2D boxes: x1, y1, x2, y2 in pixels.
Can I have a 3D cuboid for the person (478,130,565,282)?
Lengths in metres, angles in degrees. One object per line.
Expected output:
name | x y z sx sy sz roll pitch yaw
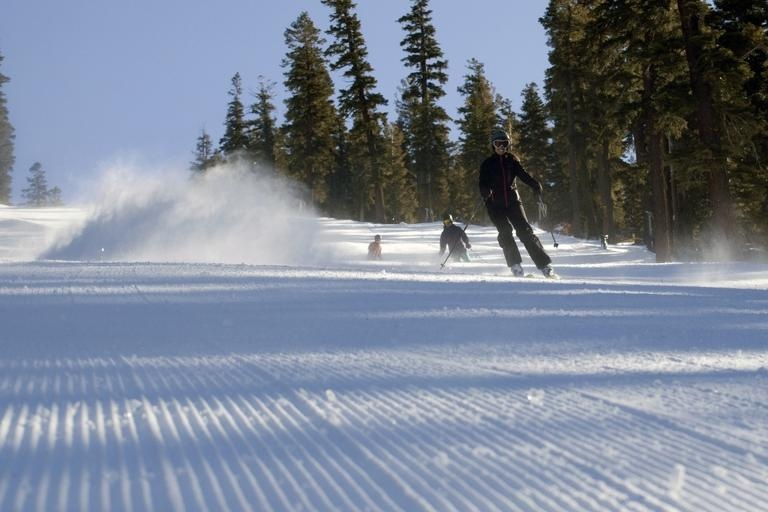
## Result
person | 1.970 -0.810 10.698 1.146 2.105 0.753 6 11 24
